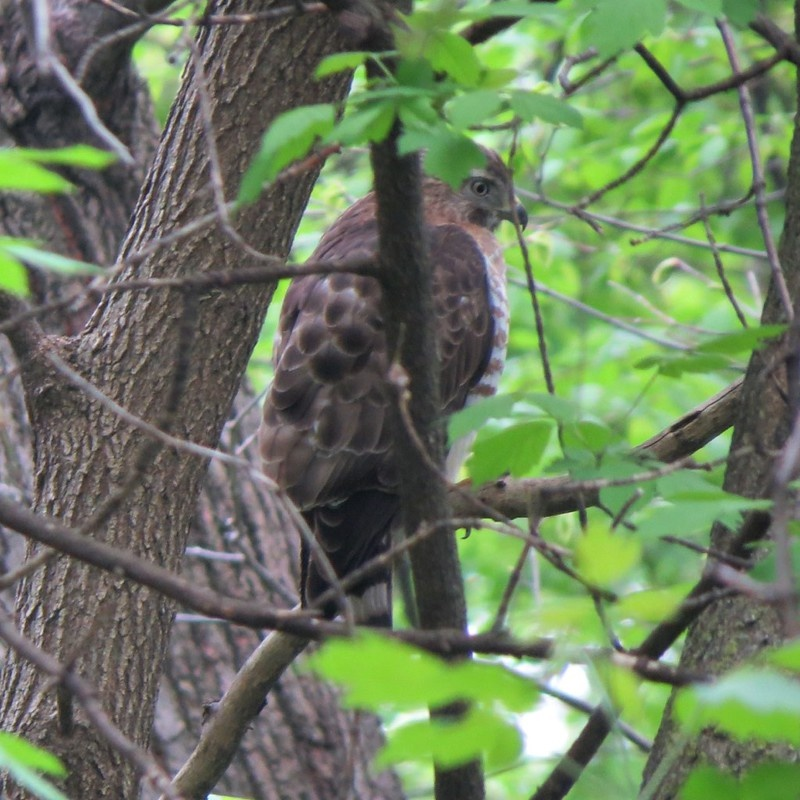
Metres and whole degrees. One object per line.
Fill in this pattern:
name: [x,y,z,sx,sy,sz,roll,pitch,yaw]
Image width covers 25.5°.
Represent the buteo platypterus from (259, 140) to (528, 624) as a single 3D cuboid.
buteo platypterus: [-0.004,-0.043,5.089,0.723,1.546,0.588,3,-21,-15]
